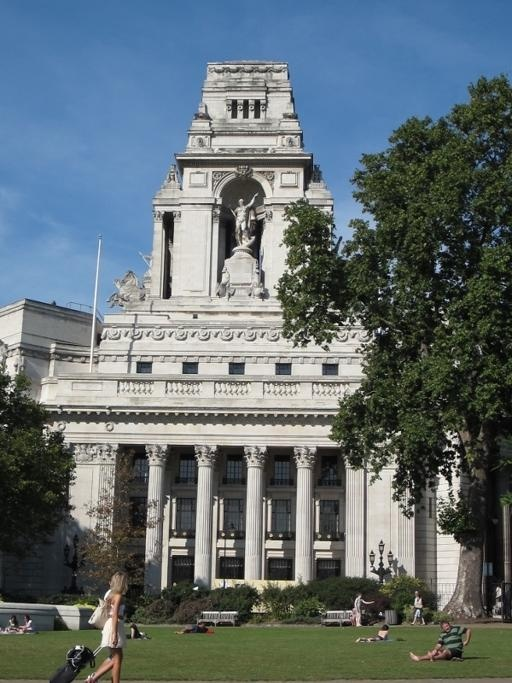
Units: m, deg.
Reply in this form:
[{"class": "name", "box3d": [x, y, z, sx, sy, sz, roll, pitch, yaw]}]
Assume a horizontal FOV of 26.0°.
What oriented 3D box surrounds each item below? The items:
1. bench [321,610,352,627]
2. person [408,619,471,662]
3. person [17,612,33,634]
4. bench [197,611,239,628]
[{"class": "bench", "box3d": [3.232, 10.977, 44.195, 1.132, 0.580, 1.384, 1, -15, -1]}, {"class": "person", "box3d": [4.476, 6.840, 25.469, 1.790, 1.018, 0.714, 2, -20, -33]}, {"class": "person", "box3d": [-7.094, 8.641, 34.033, 0.628, 0.693, 0.609, 4, -25, -11]}, {"class": "bench", "box3d": [-1.515, 11.279, 45.264, 1.508, 0.616, 2.442, 1, -14, -2]}]
